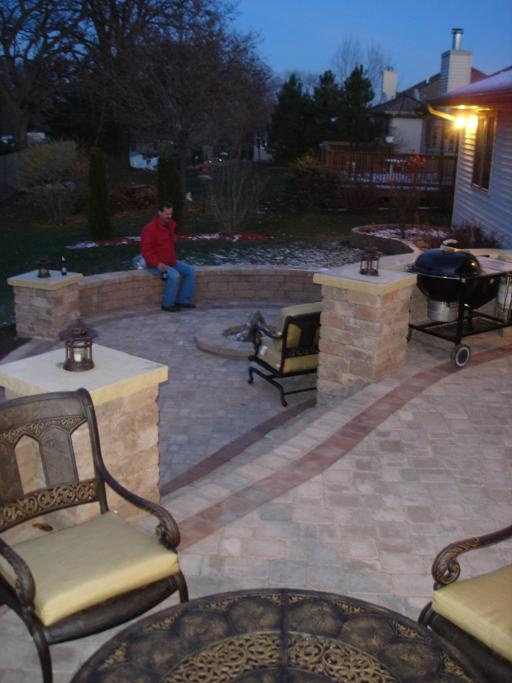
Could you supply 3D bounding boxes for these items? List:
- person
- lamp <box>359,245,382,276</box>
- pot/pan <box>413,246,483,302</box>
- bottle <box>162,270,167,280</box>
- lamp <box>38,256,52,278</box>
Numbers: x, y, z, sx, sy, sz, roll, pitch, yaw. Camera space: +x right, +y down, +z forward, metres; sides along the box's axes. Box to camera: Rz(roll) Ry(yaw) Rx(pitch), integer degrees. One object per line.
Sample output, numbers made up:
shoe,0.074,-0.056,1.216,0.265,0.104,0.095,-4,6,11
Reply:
person,-1.442,-1.338,9.535,0.545,1.707,0.912,6,5,42
lamp,1.102,-0.763,5.636,0.188,0.280,0.355,3,3,9
pot/pan,1.867,-0.664,5.757,0.667,0.541,0.402,4,4,21
bottle,-1.447,-1.058,9.261,0.054,0.140,0.141,4,4,14
lamp,-2.936,-1.000,8.042,0.156,0.294,0.434,1,4,-20
